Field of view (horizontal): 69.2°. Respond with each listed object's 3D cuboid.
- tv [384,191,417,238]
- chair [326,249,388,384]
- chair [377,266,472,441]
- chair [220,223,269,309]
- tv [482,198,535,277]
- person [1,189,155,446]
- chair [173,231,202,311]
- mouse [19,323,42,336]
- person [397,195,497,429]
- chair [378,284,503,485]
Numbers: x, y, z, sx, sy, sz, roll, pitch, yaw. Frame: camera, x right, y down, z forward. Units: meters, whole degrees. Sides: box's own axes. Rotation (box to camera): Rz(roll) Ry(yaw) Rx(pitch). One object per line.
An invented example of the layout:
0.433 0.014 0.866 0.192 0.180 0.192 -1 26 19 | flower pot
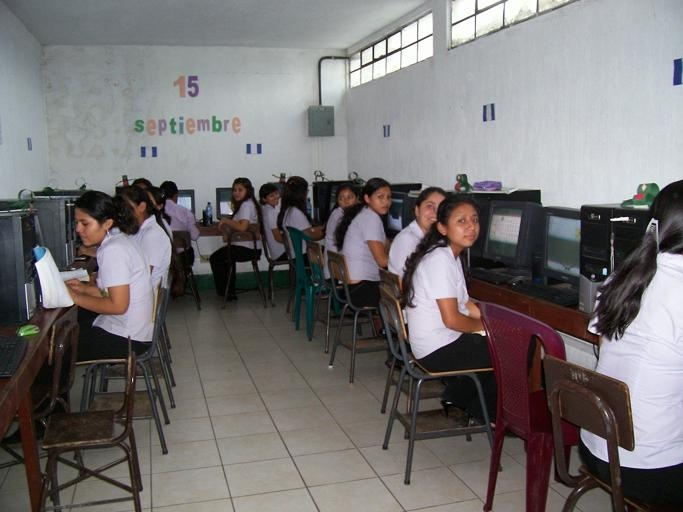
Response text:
0.644 -0.436 5.273 0.193 0.443 0.423 -2 9 -24 | tv
0.249 0.471 4.212 0.540 1.048 0.525 -4 1 -2 | chair
0.554 0.625 2.890 0.623 0.948 0.639 -3 2 17 | chair
-1.249 0.120 6.312 0.652 1.340 0.819 -1 23 -9 | chair
1.172 -0.173 3.665 0.292 0.447 0.235 7 8 5 | tv
-1.510 0.315 2.949 0.712 1.334 0.504 -1 10 -12 | person
-1.982 0.196 6.094 0.365 0.835 0.372 -10 5 -16 | chair
-1.381 0.317 2.195 0.063 0.015 0.053 -5 26 -42 | mouse
0.632 0.343 2.814 0.564 1.276 0.545 -2 3 7 | person
0.640 0.644 3.293 0.844 1.505 0.814 -3 7 -9 | chair
